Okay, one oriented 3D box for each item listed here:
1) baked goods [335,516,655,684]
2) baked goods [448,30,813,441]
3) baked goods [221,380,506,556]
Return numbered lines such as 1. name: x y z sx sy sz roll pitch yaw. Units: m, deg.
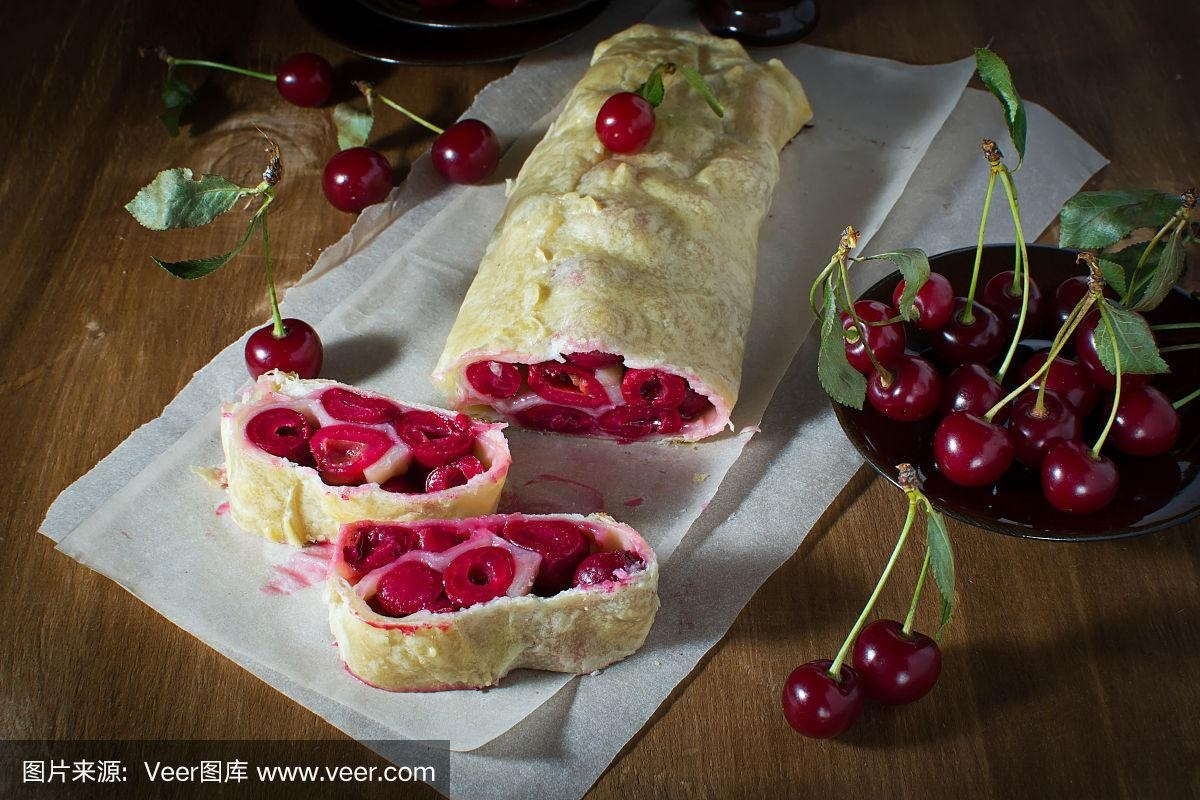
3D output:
1. baked goods: -0.232 0.423 2.454 0.691 0.198 0.331 1 63 -8
2. baked goods: 0.091 -0.466 2.856 0.685 0.407 1.146 7 61 17
3. baked goods: -0.562 0.120 2.587 0.623 0.243 0.365 11 45 3
